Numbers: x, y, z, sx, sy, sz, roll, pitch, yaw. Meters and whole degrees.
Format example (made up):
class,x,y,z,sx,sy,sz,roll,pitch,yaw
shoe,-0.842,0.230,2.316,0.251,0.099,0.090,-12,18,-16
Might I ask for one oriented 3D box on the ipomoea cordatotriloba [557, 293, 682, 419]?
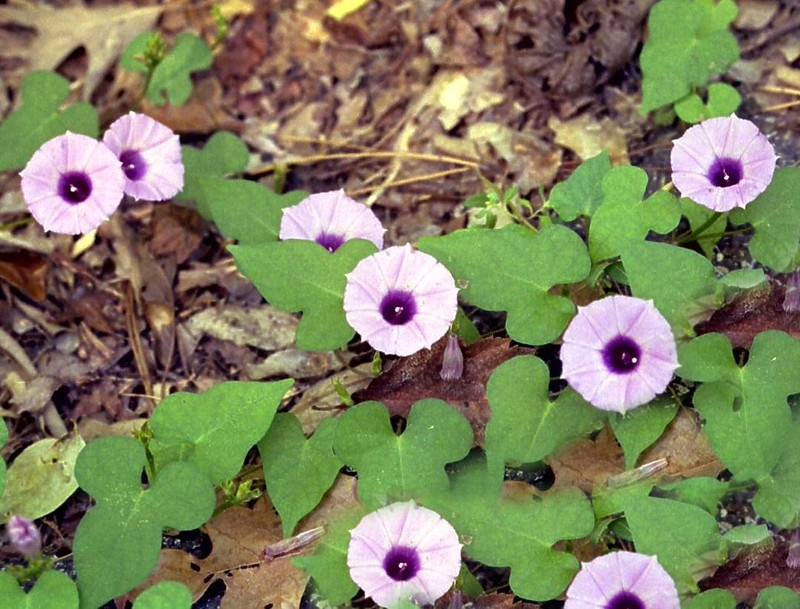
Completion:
class,x,y,z,sx,sy,sz,roll,pitch,yaw
ipomoea cordatotriloba,1.071,0.248,4.092,0.556,0.268,0.478,-18,62,-3

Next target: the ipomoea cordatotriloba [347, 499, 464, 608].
class,x,y,z,sx,sy,sz,roll,pitch,yaw
ipomoea cordatotriloba,0.036,1.303,4.195,0.563,0.449,0.456,-18,61,-3

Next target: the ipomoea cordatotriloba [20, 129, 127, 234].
class,x,y,z,sx,sy,sz,roll,pitch,yaw
ipomoea cordatotriloba,-1.771,-0.624,4.501,0.570,0.630,0.221,-13,55,-45

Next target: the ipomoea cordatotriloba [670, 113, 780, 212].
class,x,y,z,sx,sy,sz,roll,pitch,yaw
ipomoea cordatotriloba,1.721,-0.752,4.383,0.508,0.211,0.459,2,63,8
